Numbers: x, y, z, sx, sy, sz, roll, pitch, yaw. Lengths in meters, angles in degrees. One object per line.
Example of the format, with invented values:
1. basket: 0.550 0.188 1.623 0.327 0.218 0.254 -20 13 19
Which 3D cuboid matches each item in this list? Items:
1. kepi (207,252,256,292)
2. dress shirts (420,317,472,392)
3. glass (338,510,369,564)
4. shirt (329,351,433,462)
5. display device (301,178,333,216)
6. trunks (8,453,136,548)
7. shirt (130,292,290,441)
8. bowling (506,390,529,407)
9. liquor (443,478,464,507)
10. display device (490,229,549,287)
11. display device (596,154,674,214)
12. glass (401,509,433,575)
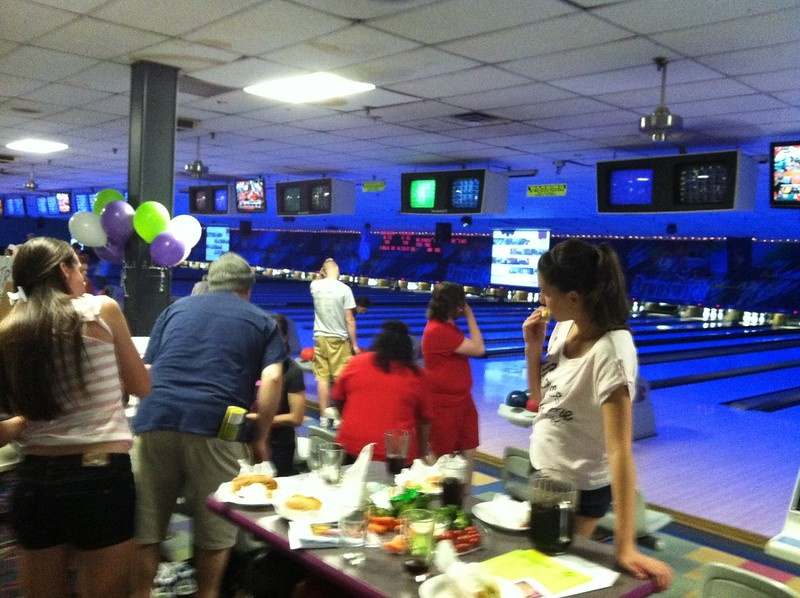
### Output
1. kepi: -0.683 -0.109 2.523 0.158 0.179 0.181 1 3 12
2. dress shirts: 0.256 0.308 3.322 0.288 0.435 0.391 -6 4 -11
3. glass: -0.105 0.617 1.588 0.060 0.088 0.058 23 -24 2
4. shirt: -0.080 0.456 2.540 0.416 0.448 0.297 7 -9 3
5. display device: -1.093 -1.350 7.886 0.524 0.484 0.253 -2 -1 41
6. trunks: -1.077 0.640 1.961 0.390 0.268 0.266 -5 -8 4
7. shirt: -0.776 0.264 2.420 0.574 0.590 0.338 5 -18 -1
8. bowling: 0.732 0.618 3.796 0.106 0.114 0.104 1 1 15
9. liquor: 0.149 0.556 1.747 0.084 0.083 0.075 1 -3 4
10. display device: 1.564 -0.574 7.968 0.108 0.913 1.034 9 -7 -37
11. display device: 2.182 -1.004 5.451 0.772 0.454 0.411 1 4 19
12. glass: 0.043 0.587 1.462 0.081 0.133 0.084 4 5 -1
